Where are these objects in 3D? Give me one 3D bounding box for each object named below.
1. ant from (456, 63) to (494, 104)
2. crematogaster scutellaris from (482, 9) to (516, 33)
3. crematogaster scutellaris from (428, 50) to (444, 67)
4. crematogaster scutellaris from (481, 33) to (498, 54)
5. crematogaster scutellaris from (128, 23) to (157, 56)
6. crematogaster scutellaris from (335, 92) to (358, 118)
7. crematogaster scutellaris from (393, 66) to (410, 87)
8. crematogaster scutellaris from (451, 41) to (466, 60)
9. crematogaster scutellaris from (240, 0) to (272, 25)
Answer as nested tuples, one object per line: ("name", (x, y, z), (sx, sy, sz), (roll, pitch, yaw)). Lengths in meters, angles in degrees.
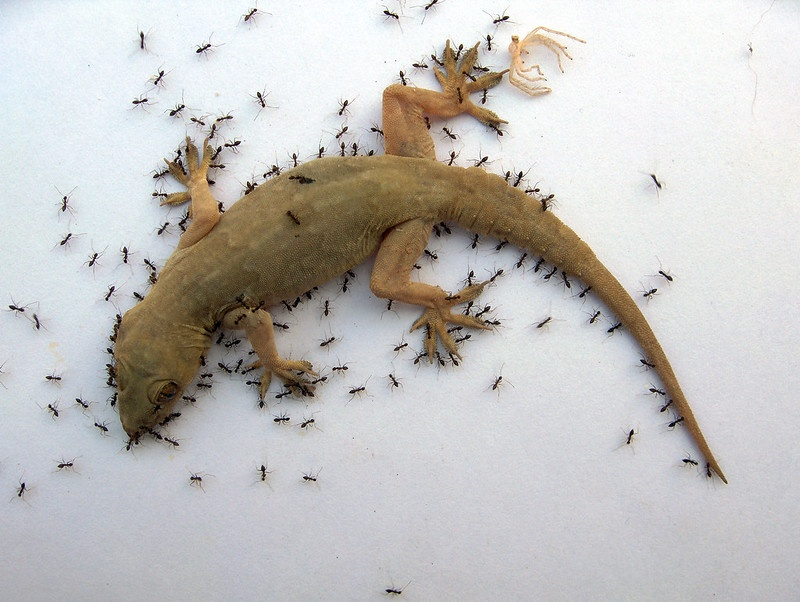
("ant", (0.652, -1.893, 7.692), (0.263, 0.076, 0.214), (31, 95, -4))
("crematogaster scutellaris", (0.814, -2.324, 7.639), (0.186, 0.058, 0.160), (-21, 78, -5))
("crematogaster scutellaris", (0.296, -2.008, 7.595), (0.065, 0.041, 0.114), (-30, 98, 27))
("crematogaster scutellaris", (0.748, -2.154, 7.647), (0.103, 0.050, 0.150), (1, 101, 5))
("crematogaster scutellaris", (-2.145, -2.194, 7.700), (0.174, 0.070, 0.242), (-2, 81, 0))
("crematogaster scutellaris", (-0.454, -1.636, 7.641), (0.122, 0.050, 0.177), (18, 93, 15))
("crematogaster scutellaris", (0.025, -1.876, 7.630), (0.097, 0.042, 0.144), (-2, 101, 17))
("crematogaster scutellaris", (0.496, -2.080, 7.625), (0.092, 0.036, 0.137), (9, 90, 10))
("crematogaster scutellaris", (-1.234, -2.407, 7.674), (0.162, 0.051, 0.143), (-38, 77, -1))
